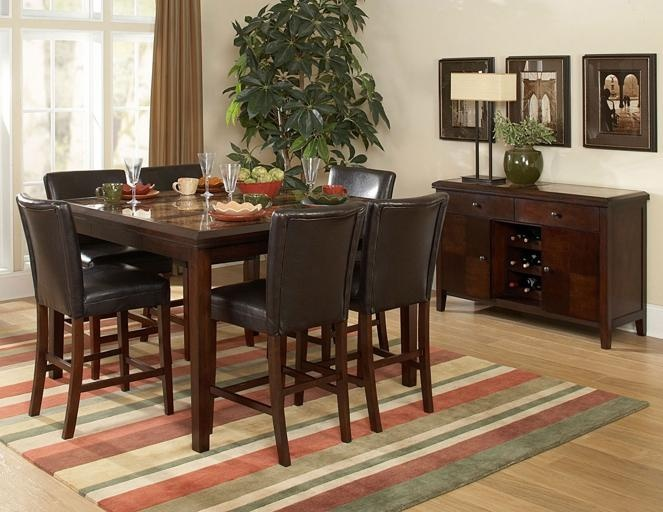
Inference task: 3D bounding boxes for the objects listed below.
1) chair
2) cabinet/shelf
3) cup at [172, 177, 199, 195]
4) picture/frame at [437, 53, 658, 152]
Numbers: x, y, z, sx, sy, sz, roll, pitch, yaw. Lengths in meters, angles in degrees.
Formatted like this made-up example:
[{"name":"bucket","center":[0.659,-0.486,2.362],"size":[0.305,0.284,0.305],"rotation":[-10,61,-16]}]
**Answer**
[{"name":"chair","center":[-0.419,0.160,2.923],"size":[1.410,0.879,1.629],"rotation":[-5,8,-39]},{"name":"cabinet/shelf","center":[1.535,0.044,3.894],"size":[0.504,0.776,1.325],"rotation":[-8,11,-41]},{"name":"cup","center":[-0.889,-0.411,3.307],"size":[0.189,0.092,0.127],"rotation":[-2,6,-4]},{"name":"picture/frame","center":[1.639,-1.213,4.255],"size":[1.667,0.808,0.146],"rotation":[9,14,41]}]
